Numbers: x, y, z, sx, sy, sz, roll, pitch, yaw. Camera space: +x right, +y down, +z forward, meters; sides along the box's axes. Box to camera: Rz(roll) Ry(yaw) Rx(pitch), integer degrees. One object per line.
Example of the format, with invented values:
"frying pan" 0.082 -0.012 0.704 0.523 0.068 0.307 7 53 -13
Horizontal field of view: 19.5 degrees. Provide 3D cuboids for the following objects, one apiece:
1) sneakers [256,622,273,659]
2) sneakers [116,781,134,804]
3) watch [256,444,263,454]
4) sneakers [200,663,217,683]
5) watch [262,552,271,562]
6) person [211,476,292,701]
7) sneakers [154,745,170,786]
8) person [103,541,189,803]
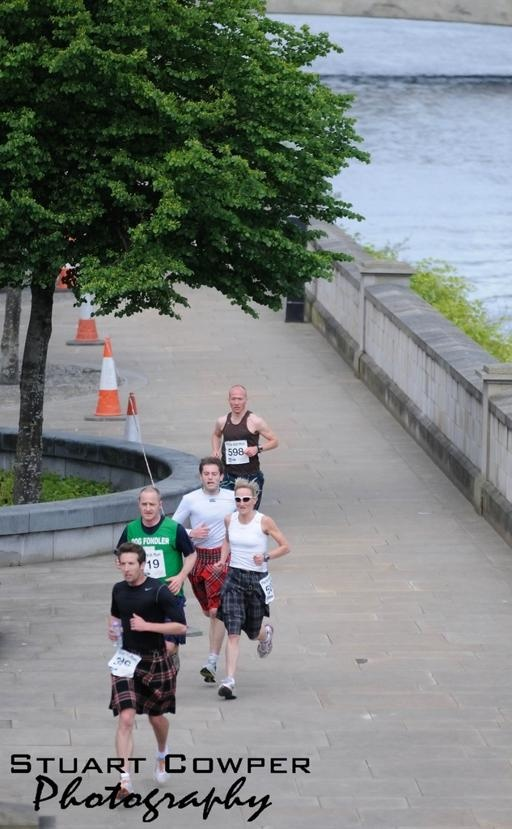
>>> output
"sneakers" 0.050 1.584 10.371 0.099 0.258 0.114 9 18 18
"sneakers" -0.702 2.000 7.912 0.085 0.112 0.115 2 -18 -2
"watch" 0.033 0.301 12.907 0.060 0.087 0.084 1 2 -13
"sneakers" -0.331 1.727 10.049 0.100 0.133 0.131 2 10 -2
"watch" 0.057 0.957 10.057 0.055 0.056 0.040 -7 19 -34
"person" -0.039 1.112 10.065 0.486 1.406 1.002 2 10 -1
"sneakers" -0.526 1.927 8.233 0.069 0.208 0.093 0 -2 2
"person" -0.605 1.440 8.111 0.404 1.192 0.634 1 10 -5
